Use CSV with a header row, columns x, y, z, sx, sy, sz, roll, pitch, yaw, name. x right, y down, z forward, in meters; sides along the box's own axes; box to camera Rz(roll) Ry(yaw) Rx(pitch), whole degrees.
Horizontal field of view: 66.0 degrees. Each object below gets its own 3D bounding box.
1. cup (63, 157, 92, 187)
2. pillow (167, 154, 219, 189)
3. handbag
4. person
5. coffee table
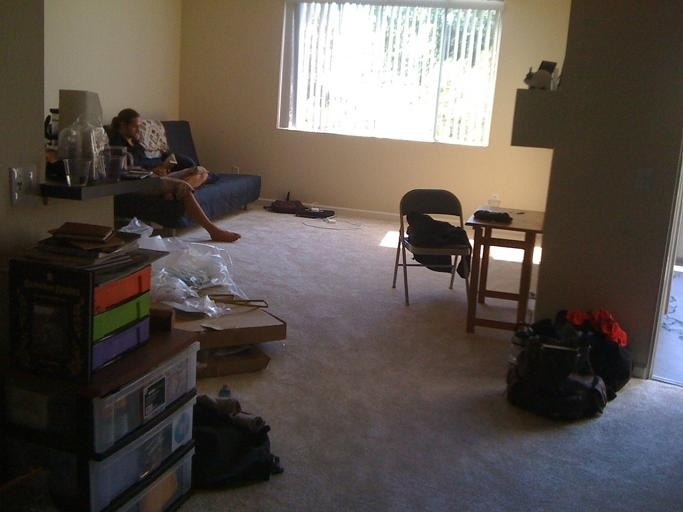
x,y,z,sx,sy,sz,roll,pitch,yaw,name
-0.987,-0.313,1.959,0.104,0.091,0.098,-1,8,0,cup
-1.538,-0.890,5.607,0.428,0.188,0.435,29,28,24,pillow
1.180,0.568,2.732,0.429,0.296,0.605,14,32,31,handbag
-1.637,-0.811,5.178,1.537,0.935,0.681,23,22,16,person
1.132,0.101,3.702,0.462,0.720,0.751,7,13,21,coffee table
